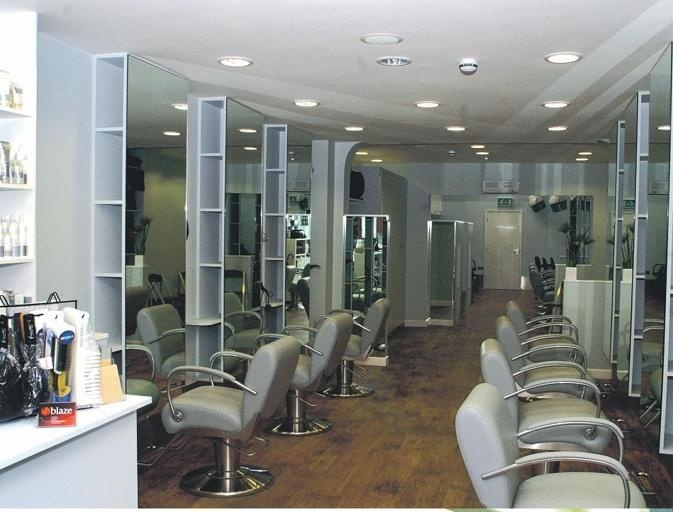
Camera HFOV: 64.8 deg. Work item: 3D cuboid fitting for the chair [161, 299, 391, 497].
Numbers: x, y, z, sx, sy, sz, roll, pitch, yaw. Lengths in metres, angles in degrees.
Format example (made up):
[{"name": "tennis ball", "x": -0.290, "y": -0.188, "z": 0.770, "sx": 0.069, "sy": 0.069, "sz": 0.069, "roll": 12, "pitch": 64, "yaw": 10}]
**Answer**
[{"name": "chair", "x": -0.480, "y": 1.026, "z": 4.241, "sx": 0.776, "sy": 1.038, "sz": 1.934, "roll": 1, "pitch": 4, "yaw": 18}]
